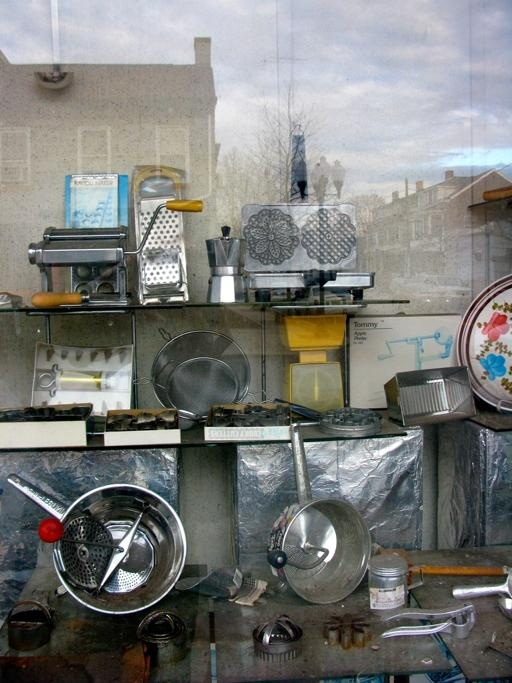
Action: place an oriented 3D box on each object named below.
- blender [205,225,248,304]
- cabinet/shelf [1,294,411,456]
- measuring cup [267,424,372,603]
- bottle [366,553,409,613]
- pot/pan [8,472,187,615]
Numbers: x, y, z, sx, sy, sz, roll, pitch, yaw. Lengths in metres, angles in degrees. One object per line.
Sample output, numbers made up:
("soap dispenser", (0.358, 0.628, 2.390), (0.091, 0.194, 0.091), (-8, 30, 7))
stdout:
("blender", (-0.083, -0.186, 1.689), (0.102, 0.192, 0.158), (0, 1, -17))
("cabinet/shelf", (-0.131, -0.018, 1.863), (0.897, 0.339, 0.372), (-1, 13, -14))
("measuring cup", (0.102, 0.340, 1.391), (0.209, 0.372, 0.129), (-8, -19, -16))
("bottle", (0.259, 0.484, 1.340), (0.082, 0.085, 0.081), (1, -2, -31))
("pot/pan", (-0.269, 0.391, 1.283), (0.261, 0.232, 0.119), (-7, 6, -18))
